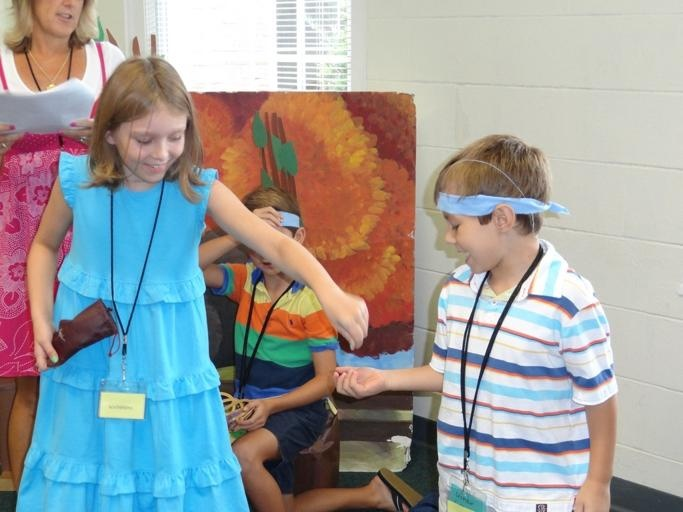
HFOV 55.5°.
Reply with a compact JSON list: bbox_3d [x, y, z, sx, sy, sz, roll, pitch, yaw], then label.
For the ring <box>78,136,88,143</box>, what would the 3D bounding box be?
[{"bbox_3d":[-0.932,-0.416,2.328,0.026,0.029,0.007,-14,15,-12],"label":"ring"}]
